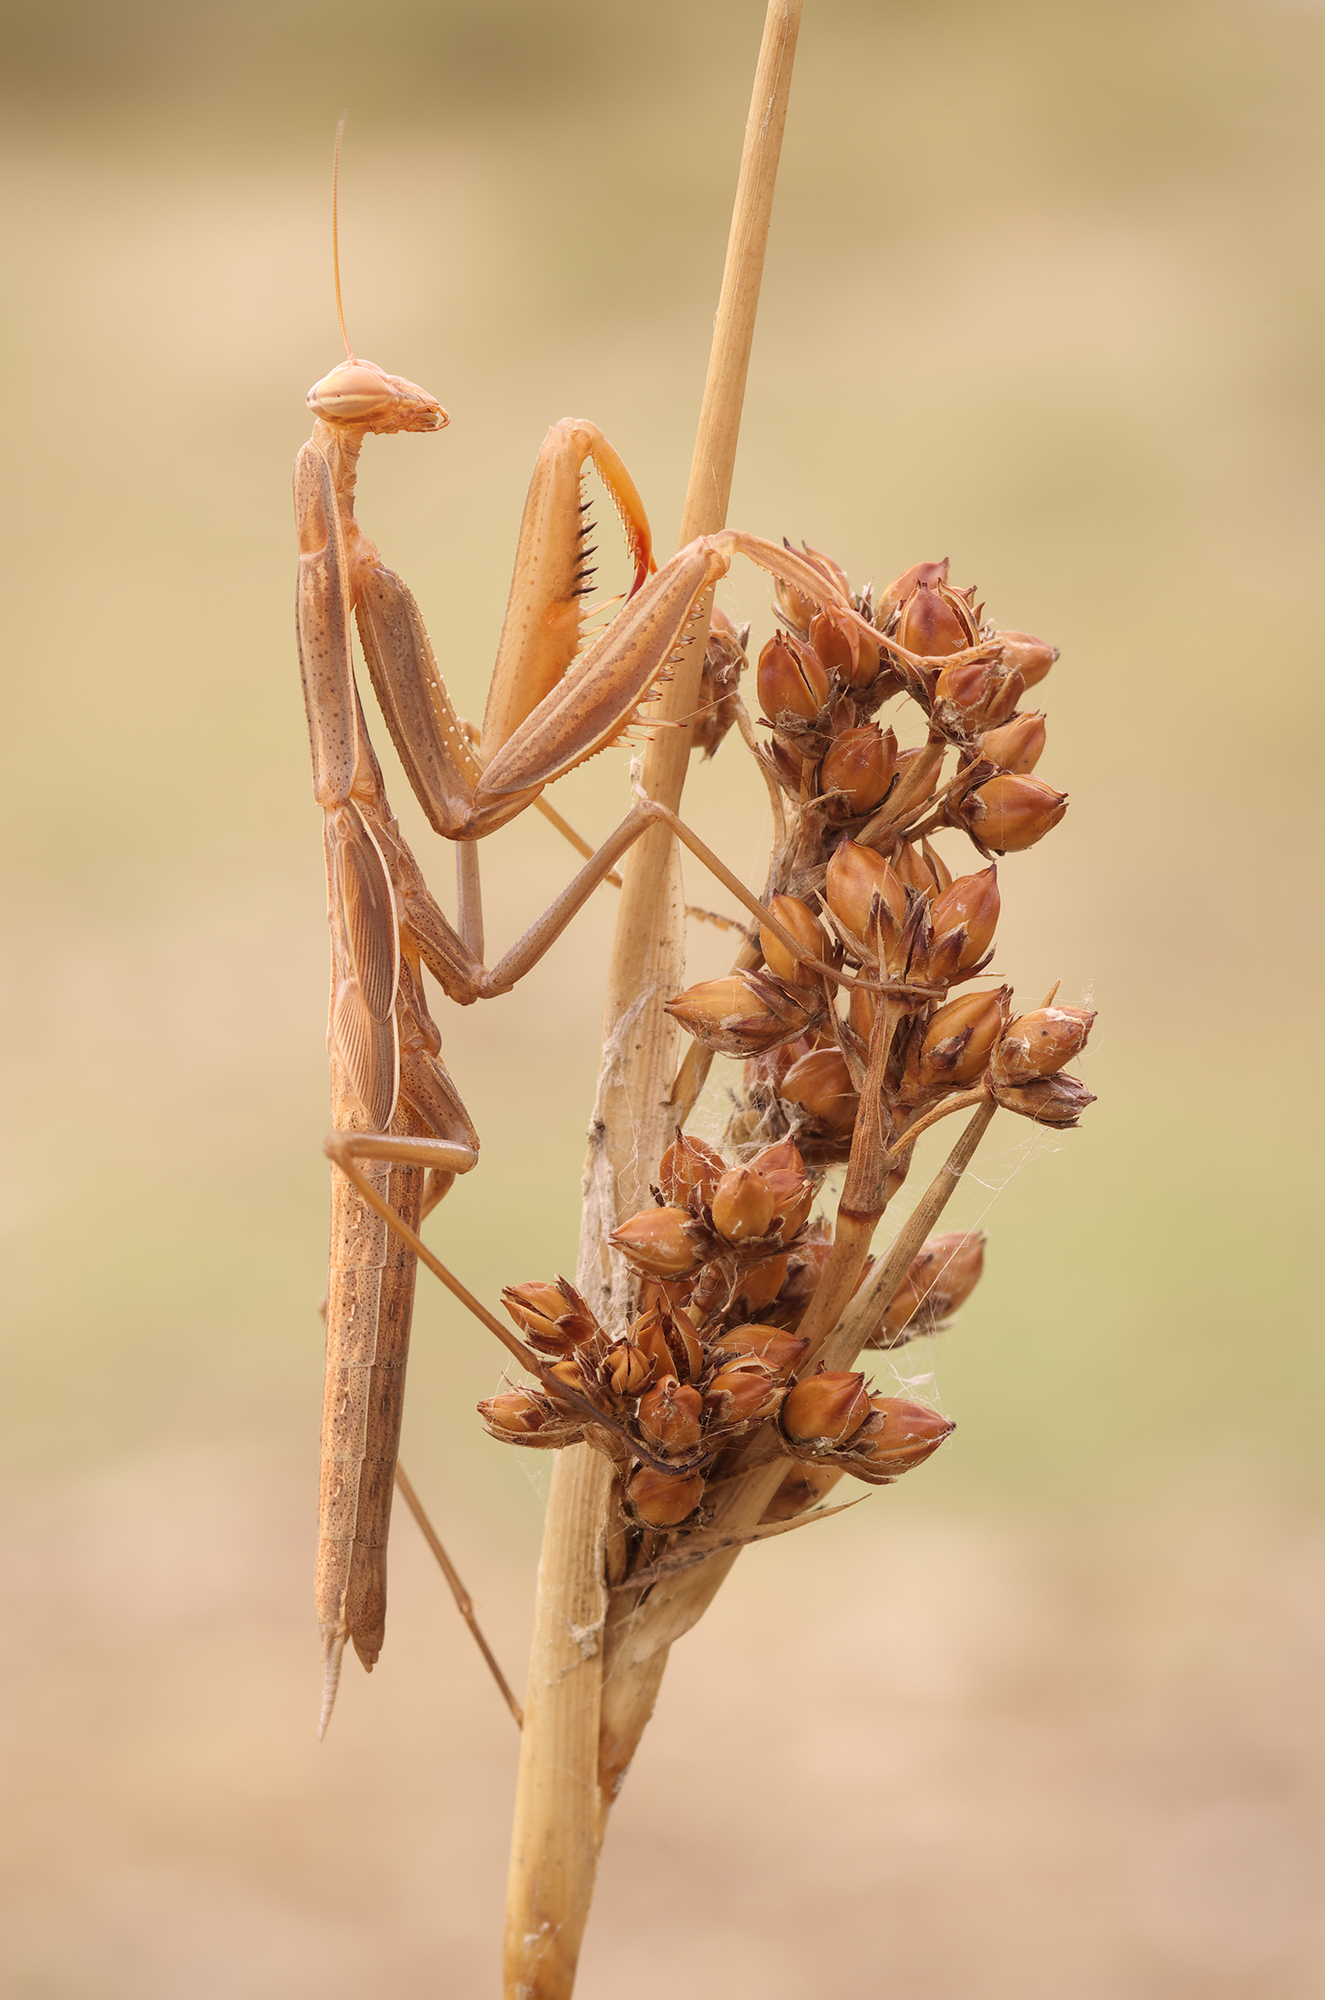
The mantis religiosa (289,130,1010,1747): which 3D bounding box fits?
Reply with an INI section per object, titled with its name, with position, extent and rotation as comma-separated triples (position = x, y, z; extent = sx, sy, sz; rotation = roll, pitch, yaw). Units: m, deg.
[mantis religiosa]
position = -0.049, -0.138, 0.893
extent = 0.236, 0.823, 0.363
rotation = 10, -27, -11
